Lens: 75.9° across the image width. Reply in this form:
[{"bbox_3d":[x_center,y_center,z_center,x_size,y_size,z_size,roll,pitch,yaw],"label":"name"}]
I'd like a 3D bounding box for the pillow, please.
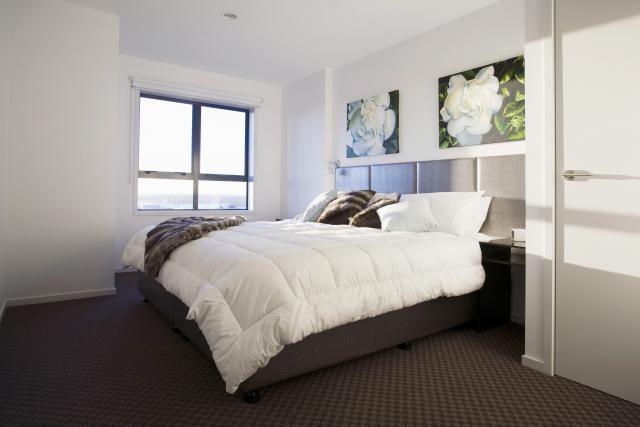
[{"bbox_3d":[0.601,-0.012,4.606,0.582,0.288,0.957,3,1,-42],"label":"pillow"}]

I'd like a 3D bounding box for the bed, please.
[{"bbox_3d":[0.069,0.279,4.295,3.560,1.685,3.217,5,10,38],"label":"bed"}]
